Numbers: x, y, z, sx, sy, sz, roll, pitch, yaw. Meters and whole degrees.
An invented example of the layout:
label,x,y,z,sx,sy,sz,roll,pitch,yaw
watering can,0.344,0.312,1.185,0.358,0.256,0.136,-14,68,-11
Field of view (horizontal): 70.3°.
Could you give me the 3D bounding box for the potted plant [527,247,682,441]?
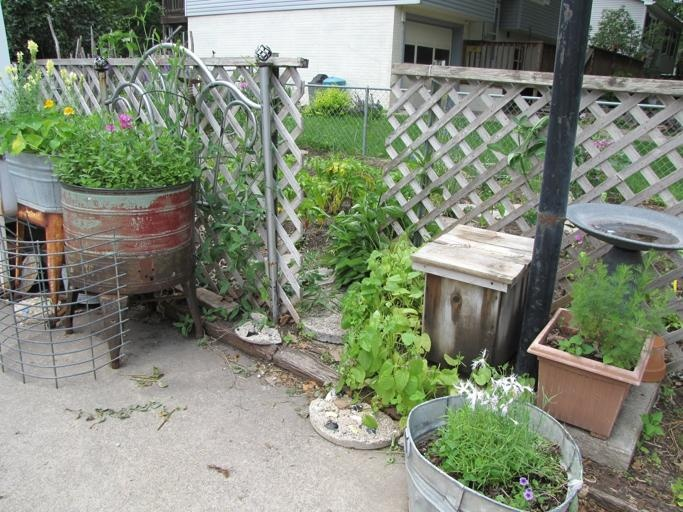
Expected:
label,x,y,z,sx,sy,sz,roll,pitch,yaw
potted plant,1.330,0.476,2.452,0.588,0.915,0.578,12,31,26
